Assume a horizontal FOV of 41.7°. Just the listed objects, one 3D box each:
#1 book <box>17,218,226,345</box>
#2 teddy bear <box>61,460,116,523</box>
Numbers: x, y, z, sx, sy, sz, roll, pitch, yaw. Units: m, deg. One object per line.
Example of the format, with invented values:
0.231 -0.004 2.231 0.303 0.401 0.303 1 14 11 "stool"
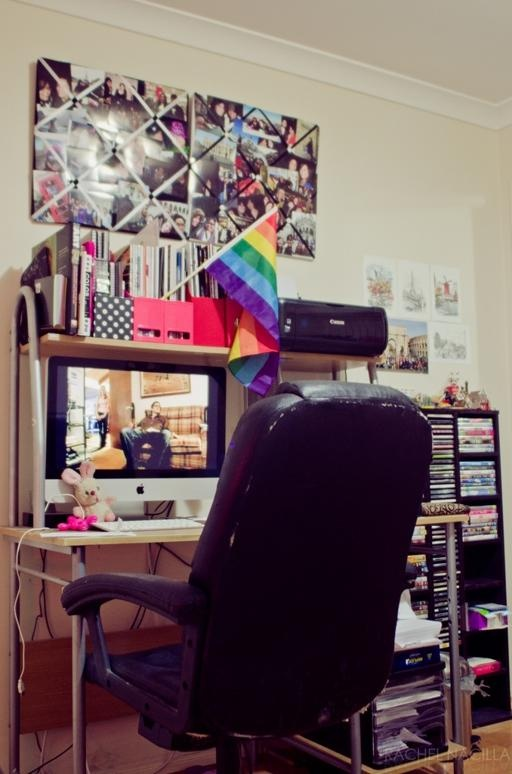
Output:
-0.398 -0.313 2.099 0.620 0.381 0.311 4 -5 -44 "book"
-0.464 0.298 1.872 0.132 0.179 0.108 -14 0 -37 "teddy bear"
